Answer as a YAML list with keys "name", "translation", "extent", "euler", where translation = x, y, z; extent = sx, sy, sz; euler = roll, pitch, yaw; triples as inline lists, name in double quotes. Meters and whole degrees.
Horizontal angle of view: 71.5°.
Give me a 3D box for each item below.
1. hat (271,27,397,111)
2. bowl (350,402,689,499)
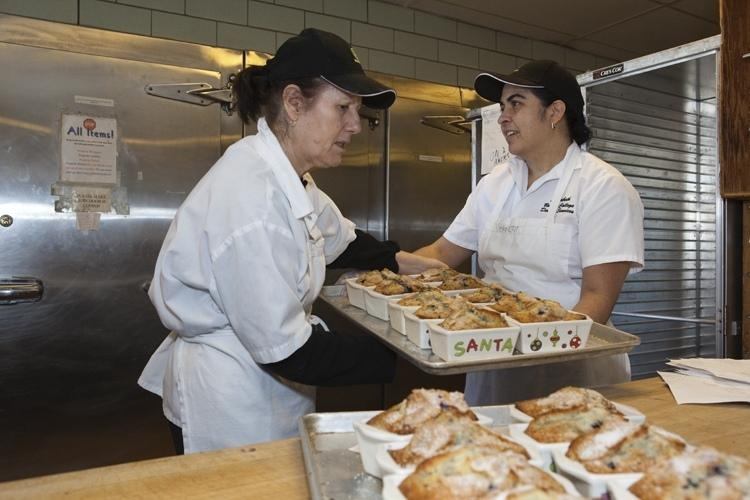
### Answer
- name: "hat"
  translation: [-0.147, -0.753, 2.199]
  extent: [0.495, 0.232, 0.307]
  euler: [9, 8, 2]
- name: "bowl"
  translation: [0.415, 0.554, 1.388]
  extent: [0.515, 0.113, 0.326]
  euler: [2, -5, -17]
